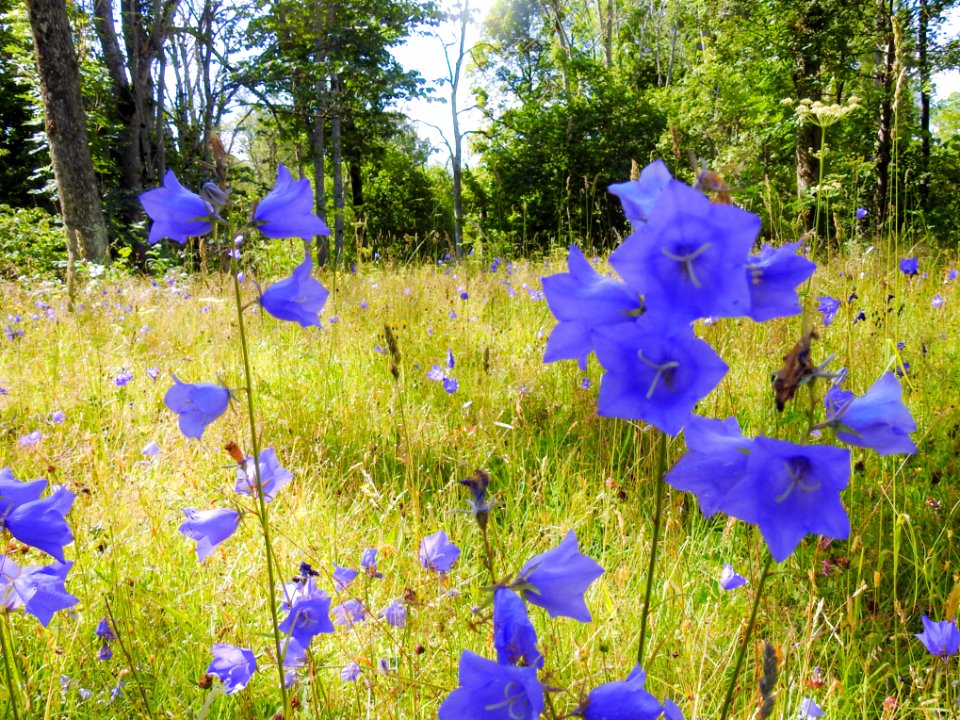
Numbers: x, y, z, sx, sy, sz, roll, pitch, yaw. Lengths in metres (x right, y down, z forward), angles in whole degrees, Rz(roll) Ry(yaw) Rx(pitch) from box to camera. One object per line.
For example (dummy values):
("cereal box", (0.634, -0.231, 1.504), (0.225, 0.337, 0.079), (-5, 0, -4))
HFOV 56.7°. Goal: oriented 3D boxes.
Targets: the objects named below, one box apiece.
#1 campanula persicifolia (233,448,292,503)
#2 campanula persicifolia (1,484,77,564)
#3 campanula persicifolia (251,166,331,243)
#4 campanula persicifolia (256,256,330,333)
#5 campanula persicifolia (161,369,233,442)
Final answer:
("campanula persicifolia", (-1.669, 0.914, 6.835), (0.415, 0.480, 0.762), (-4, 7, -18))
("campanula persicifolia", (-3.146, 1.153, 6.469), (0.417, 0.569, 0.312), (-16, -2, 10))
("campanula persicifolia", (-1.397, -1.113, 6.519), (0.471, 0.616, 0.271), (4, 5, -38))
("campanula persicifolia", (-1.387, -0.530, 6.762), (0.496, 0.479, 0.300), (-34, 30, -23))
("campanula persicifolia", (-2.073, 0.326, 6.608), (0.268, 0.506, 0.424), (-15, -2, -43))
